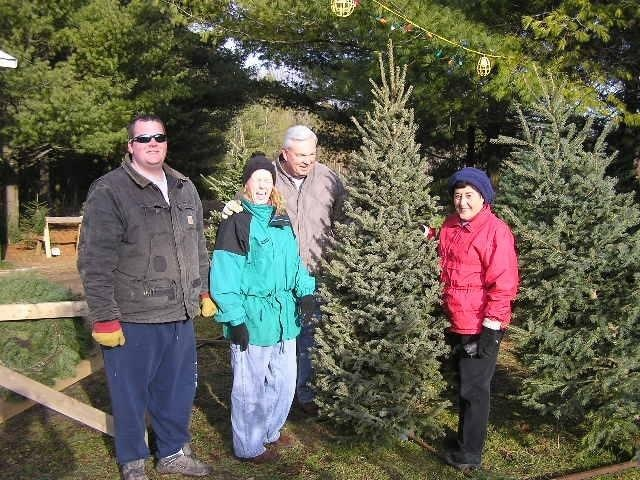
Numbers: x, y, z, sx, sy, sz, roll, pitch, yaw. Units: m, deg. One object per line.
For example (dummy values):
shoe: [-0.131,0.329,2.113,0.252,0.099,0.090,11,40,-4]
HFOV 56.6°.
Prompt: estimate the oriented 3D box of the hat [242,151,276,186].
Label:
hat: [-0.623,-0.743,6.055,0.299,0.310,0.309,4,11,-20]

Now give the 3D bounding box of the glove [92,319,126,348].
glove: [-2.004,0.888,5.647,0.220,0.238,0.278,-3,-3,-4]

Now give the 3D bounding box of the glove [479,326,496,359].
glove: [1.661,1.021,5.898,0.192,0.277,0.088,9,9,5]

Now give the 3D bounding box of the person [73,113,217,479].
person: [-1.711,0.627,5.810,1.134,3.569,0.757,-7,15,-24]

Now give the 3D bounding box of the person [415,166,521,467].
person: [1.594,0.798,6.126,0.662,2.996,0.752,-3,14,-10]

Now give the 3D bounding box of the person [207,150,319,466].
person: [-0.610,0.755,6.073,0.977,3.173,0.497,-7,15,-25]

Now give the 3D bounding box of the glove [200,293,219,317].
glove: [-1.183,0.689,6.283,0.227,0.241,0.068,-2,-4,-27]

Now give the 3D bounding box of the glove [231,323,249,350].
glove: [-0.779,0.938,5.850,0.167,0.250,0.243,1,3,-1]
